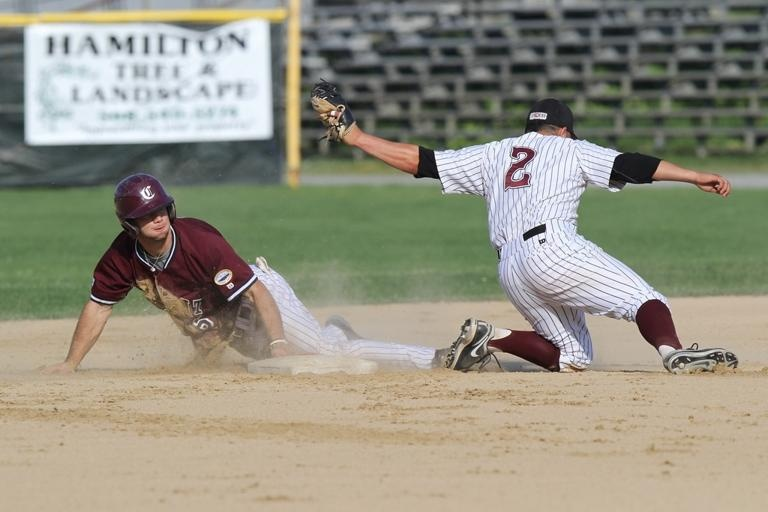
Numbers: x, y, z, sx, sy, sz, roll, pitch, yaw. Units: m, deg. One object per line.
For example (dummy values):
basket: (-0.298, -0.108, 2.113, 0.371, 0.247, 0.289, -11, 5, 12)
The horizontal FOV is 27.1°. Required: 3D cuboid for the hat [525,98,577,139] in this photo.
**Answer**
hat: (2.095, -1.679, 19.426, 0.438, 0.330, 0.623, 14, 12, 42)
